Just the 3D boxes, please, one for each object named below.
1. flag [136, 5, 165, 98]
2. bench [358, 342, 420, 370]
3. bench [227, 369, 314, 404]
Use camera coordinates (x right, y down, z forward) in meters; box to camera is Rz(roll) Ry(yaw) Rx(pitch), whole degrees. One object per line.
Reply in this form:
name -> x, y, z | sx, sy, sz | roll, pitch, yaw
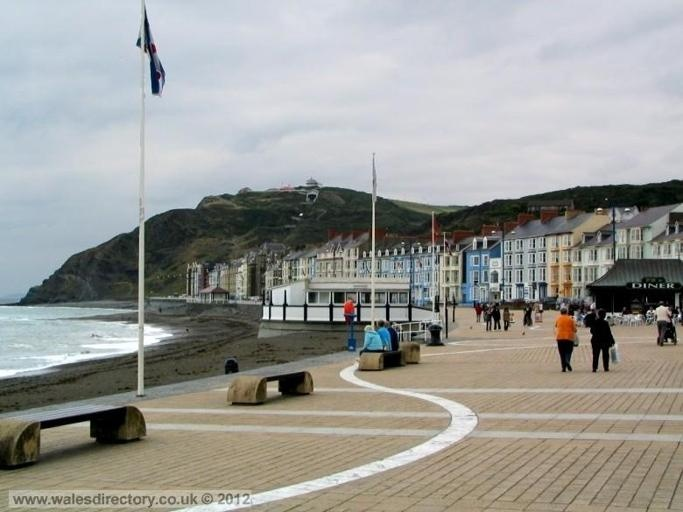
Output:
flag -> -4.275, -4.543, 20.242 | 0.587, 2.177, 1.678 | 1, -4, -12
bench -> 1.377, 2.860, 25.346 | 0.679, 0.687, 2.378 | -2, -4, 33
bench -> -1.508, 2.803, 18.944 | 0.849, 0.583, 1.854 | -2, -4, 33
